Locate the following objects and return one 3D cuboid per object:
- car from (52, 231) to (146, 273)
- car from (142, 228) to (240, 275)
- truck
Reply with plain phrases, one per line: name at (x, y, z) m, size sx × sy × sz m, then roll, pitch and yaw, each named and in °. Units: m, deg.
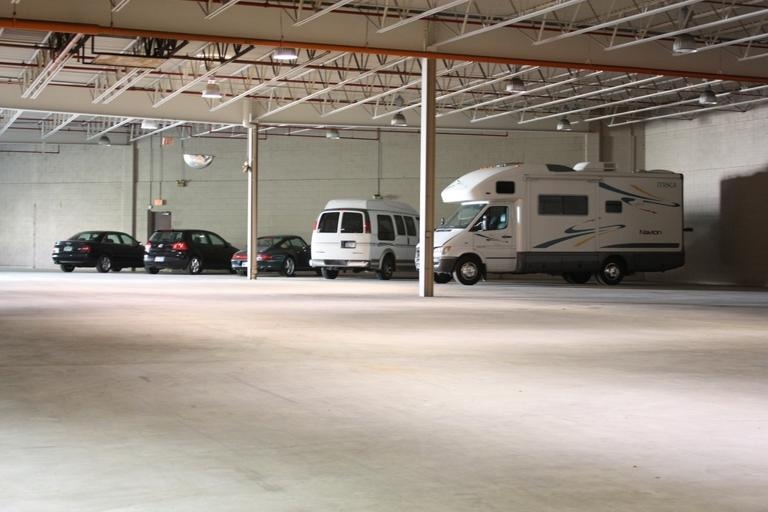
car at (-14.270, -0.276, 31.663) m, size 2.430 × 1.844 × 5.370 m, roll 2°, pitch 1°, yaw 12°
car at (-9.240, -0.211, 30.227) m, size 2.786 × 1.997 × 4.994 m, roll -1°, pitch 0°, yaw 17°
truck at (6.010, -1.207, 23.349) m, size 10.510 × 4.606 × 3.930 m, roll -1°, pitch 2°, yaw -10°
